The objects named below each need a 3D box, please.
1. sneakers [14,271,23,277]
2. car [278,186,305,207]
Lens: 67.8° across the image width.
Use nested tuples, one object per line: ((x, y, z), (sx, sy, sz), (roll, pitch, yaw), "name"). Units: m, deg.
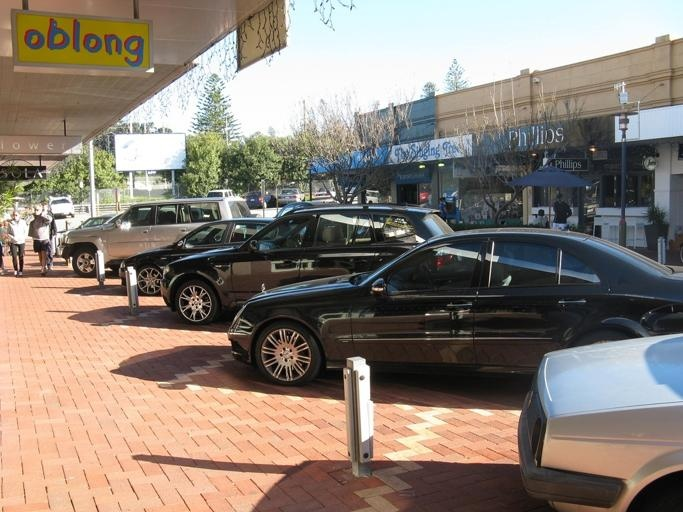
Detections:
((-12.135, 0.649, 18.933), (0.475, 0.162, 0.150), (-4, 5, 23), "sneakers")
((-5.710, -6.723, 59.412), (3.370, 2.058, 7.061), (0, 9, 7), "car")
